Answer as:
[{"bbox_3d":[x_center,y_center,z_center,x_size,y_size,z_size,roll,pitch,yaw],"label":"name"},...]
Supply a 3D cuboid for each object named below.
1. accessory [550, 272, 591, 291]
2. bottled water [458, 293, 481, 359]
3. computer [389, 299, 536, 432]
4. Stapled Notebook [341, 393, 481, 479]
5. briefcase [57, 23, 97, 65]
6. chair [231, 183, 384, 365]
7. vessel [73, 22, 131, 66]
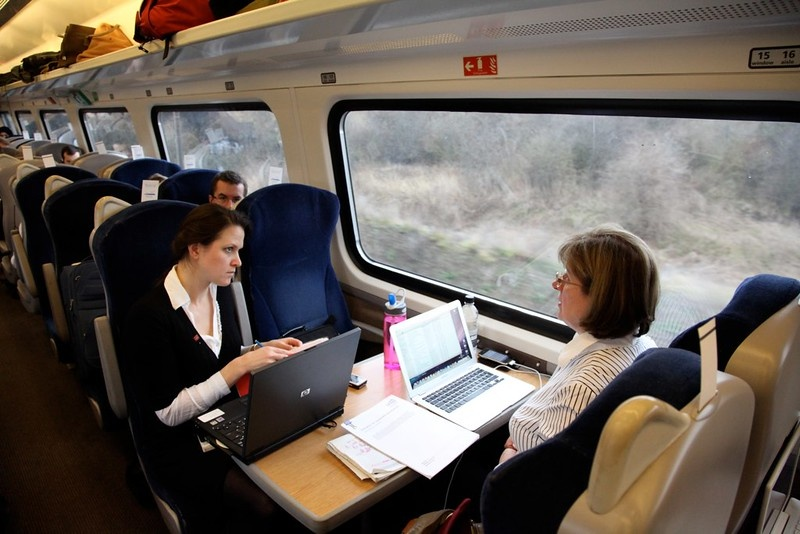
[{"bbox_3d":[0.660,0.059,1.993,0.067,0.023,0.078,-18,31,-42],"label":"accessory"},{"bbox_3d":[0.387,0.333,2.818,0.091,0.315,0.090,-9,16,-41],"label":"bottled water"},{"bbox_3d":[0.264,0.499,2.447,0.610,0.368,0.596,-22,29,-36],"label":"computer"},{"bbox_3d":[0.052,0.709,2.169,0.445,0.044,0.359,22,30,40],"label":"Stapled Notebook"},{"bbox_3d":[-2.903,-2.020,4.569,0.144,0.387,0.279,19,30,9],"label":"briefcase"},{"bbox_3d":[-0.464,0.142,2.893,0.711,1.067,0.932,-13,26,-35],"label":"chair"},{"bbox_3d":[-2.458,-1.956,4.373,0.390,0.312,0.184,-13,-5,-15],"label":"vessel"}]
